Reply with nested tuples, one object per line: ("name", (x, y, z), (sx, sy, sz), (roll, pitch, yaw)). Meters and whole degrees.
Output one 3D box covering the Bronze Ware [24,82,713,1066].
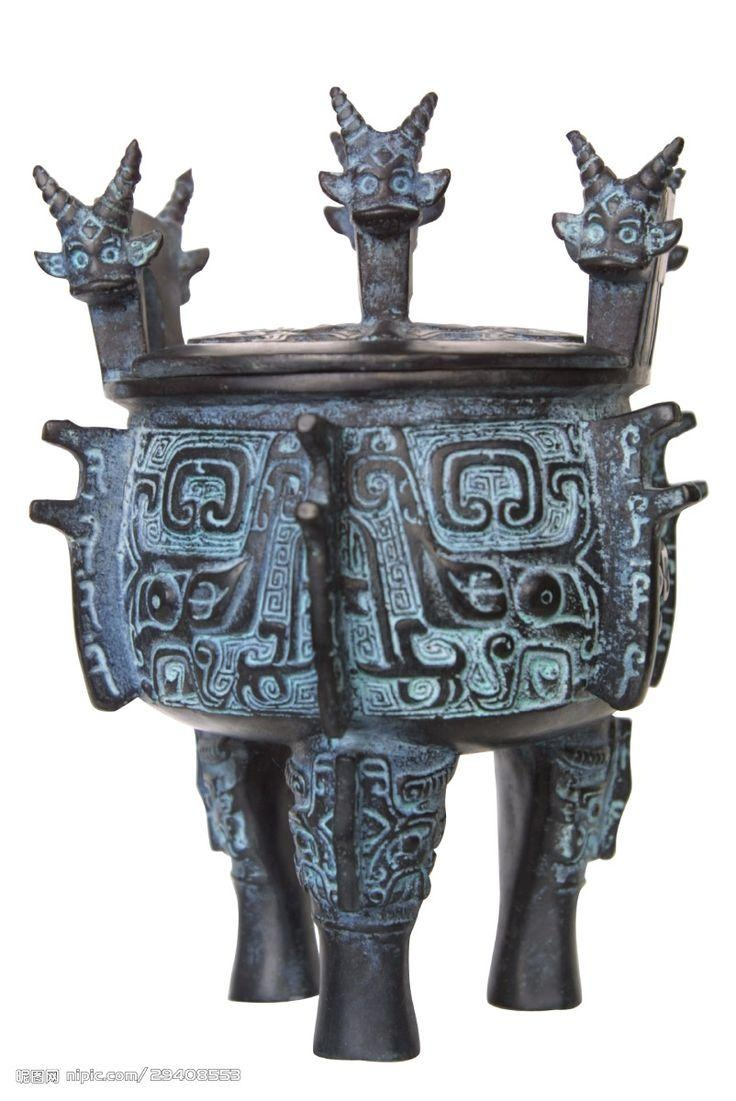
("Bronze Ware", (0.000, 0.048, 2.932), (1.079, 1.000, 1.337), (2, -84, 28))
